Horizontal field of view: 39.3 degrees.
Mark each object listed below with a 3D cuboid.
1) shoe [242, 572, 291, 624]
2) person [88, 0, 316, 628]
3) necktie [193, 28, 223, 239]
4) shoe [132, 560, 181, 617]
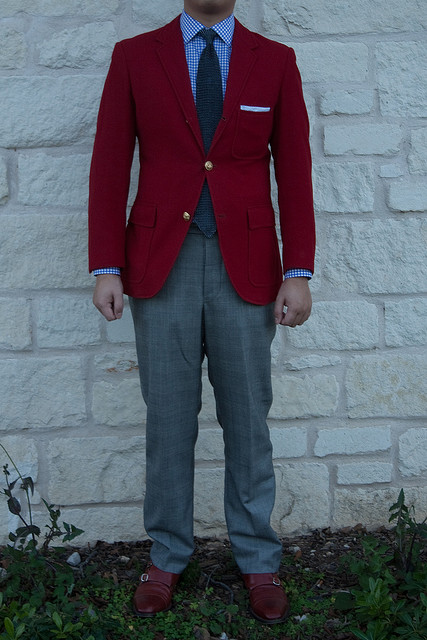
[{"bbox_3d":[0.148,0.797,1.725,0.147,0.100,0.134,2,8,8],"label":"shoe"},{"bbox_3d":[-0.045,-0.014,1.702,0.627,1.709,0.318,3,9,8],"label":"person"},{"bbox_3d":[-0.016,-0.502,1.608,0.071,0.561,0.116,1,8,-1],"label":"necktie"},{"bbox_3d":[-0.177,0.787,1.744,0.108,0.096,0.140,3,8,13],"label":"shoe"}]
